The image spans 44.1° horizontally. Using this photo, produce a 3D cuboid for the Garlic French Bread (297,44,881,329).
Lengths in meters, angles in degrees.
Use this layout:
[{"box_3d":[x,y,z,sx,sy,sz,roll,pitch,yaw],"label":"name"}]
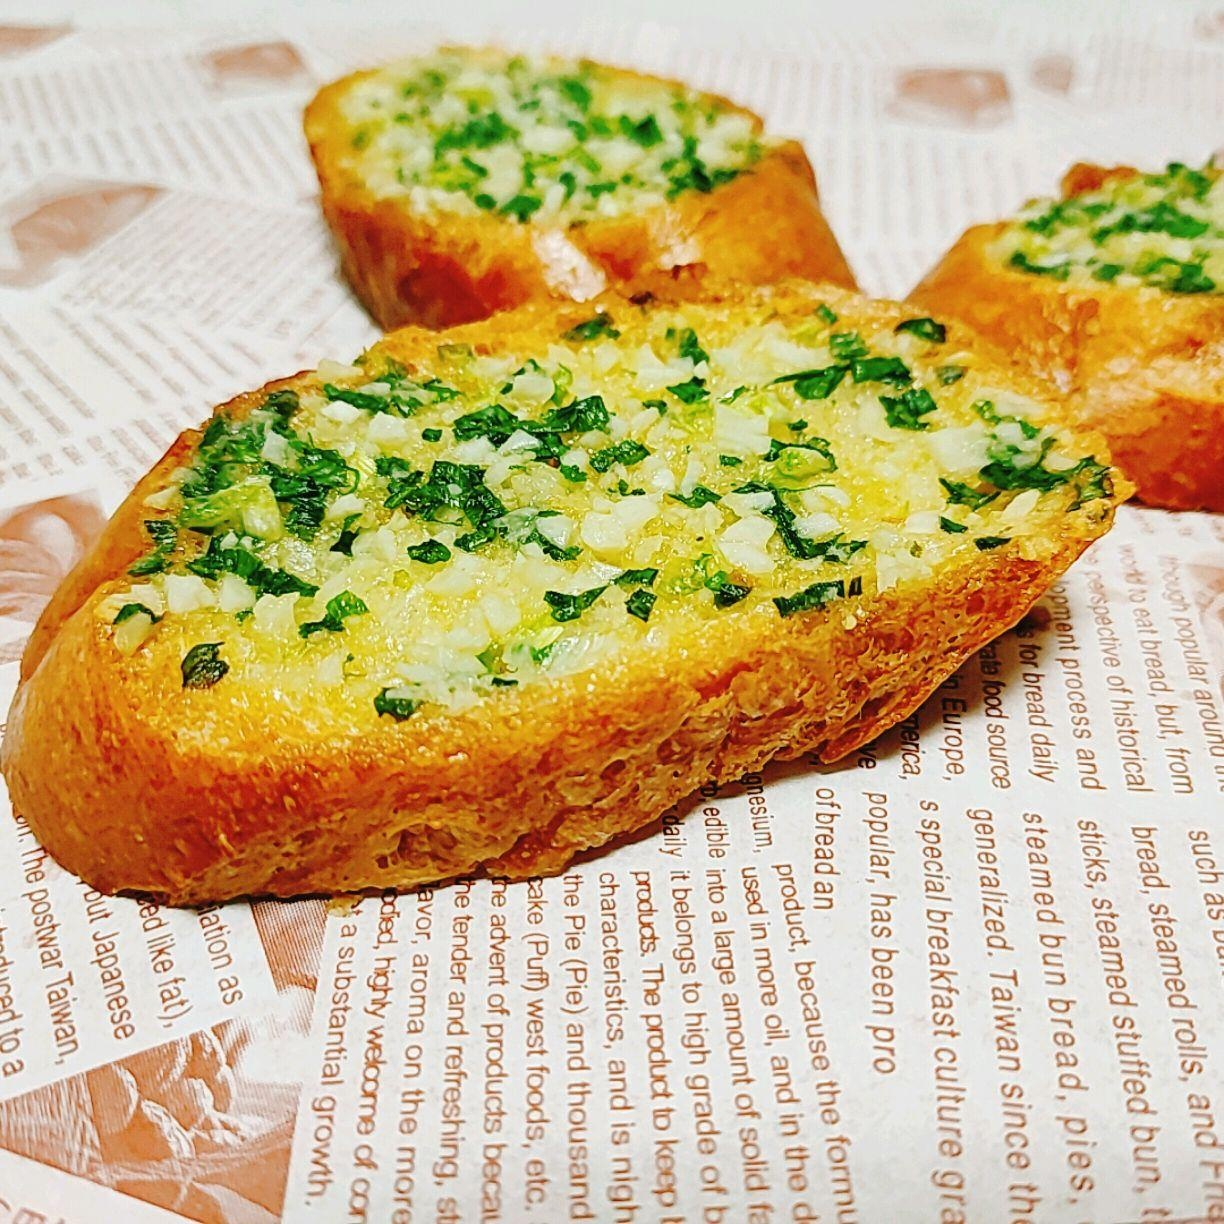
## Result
[{"box_3d":[-0.053,-0.473,1.806,0.483,0.156,0.518,18,42,17],"label":"Garlic French Bread"}]
